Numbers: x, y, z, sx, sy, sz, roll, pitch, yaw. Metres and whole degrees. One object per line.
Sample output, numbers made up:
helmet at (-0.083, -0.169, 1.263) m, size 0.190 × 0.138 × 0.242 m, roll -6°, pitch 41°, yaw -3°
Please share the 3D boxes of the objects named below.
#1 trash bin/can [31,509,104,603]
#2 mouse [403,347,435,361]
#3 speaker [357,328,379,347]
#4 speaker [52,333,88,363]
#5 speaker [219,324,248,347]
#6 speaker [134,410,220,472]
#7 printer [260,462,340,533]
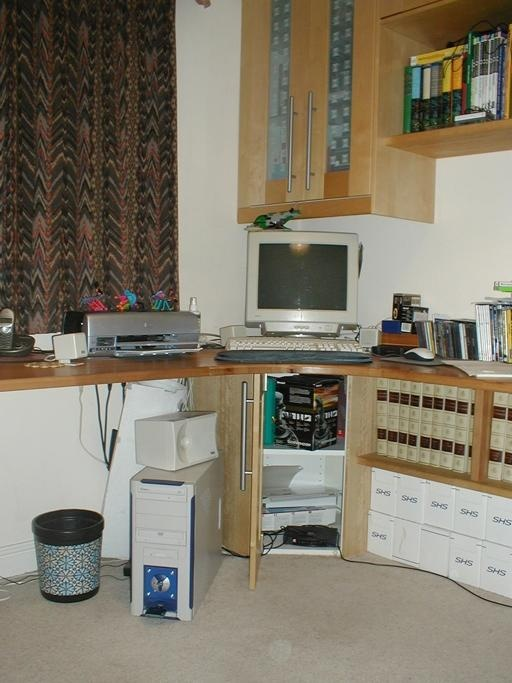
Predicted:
trash bin/can at (-0.534, 0.648, 1.824) m, size 0.225 × 0.261 × 0.236 m, roll 0°, pitch -5°, yaw -2°
mouse at (0.539, 0.033, 1.913) m, size 0.044 × 0.027 × 0.073 m, roll -1°, pitch 10°, yaw -21°
speaker at (0.393, -0.014, 2.067) m, size 0.062 × 0.067 × 0.067 m, roll -1°, pitch -1°, yaw 13°
speaker at (-0.504, 0.015, 1.586) m, size 0.071 × 0.097 × 0.099 m, roll 5°, pitch 2°, yaw 8°
speaker at (-0.082, -0.026, 2.227) m, size 0.080 × 0.061 × 0.081 m, roll -4°, pitch 8°, yaw -16°
speaker at (-0.263, 0.296, 1.870) m, size 0.169 × 0.177 × 0.238 m, roll 0°, pitch 3°, yaw 24°
printer at (0.156, 0.560, 2.273) m, size 0.250 × 0.191 × 0.254 m, roll 0°, pitch 6°, yaw -6°
